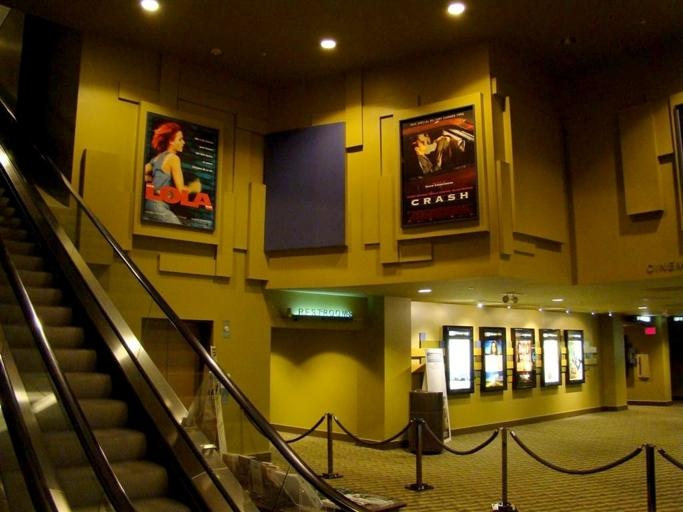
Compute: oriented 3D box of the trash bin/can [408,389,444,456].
[{"bbox_3d":[1.657,3.197,10.289,0.694,1.167,0.686,-1,-10,5],"label":"trash bin/can"}]
